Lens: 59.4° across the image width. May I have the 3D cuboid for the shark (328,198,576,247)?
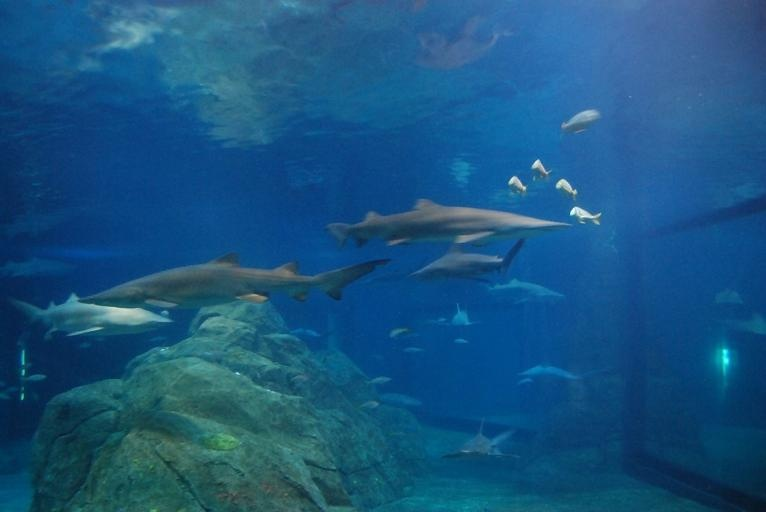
[{"bbox_3d":[1.969,-0.995,21.173,8.611,1.518,2.383,0,7,8],"label":"shark"}]

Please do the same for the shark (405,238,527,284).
[{"bbox_3d":[2.727,0.155,22.383,3.881,1.361,1.497,-2,7,2],"label":"shark"}]

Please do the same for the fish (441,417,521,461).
[{"bbox_3d":[3.728,6.903,24.907,2.362,1.097,3.050,-7,-17,23],"label":"fish"}]

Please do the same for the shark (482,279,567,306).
[{"bbox_3d":[8.310,2.154,39.317,1.746,1.283,6.029,-6,1,-31],"label":"shark"}]
